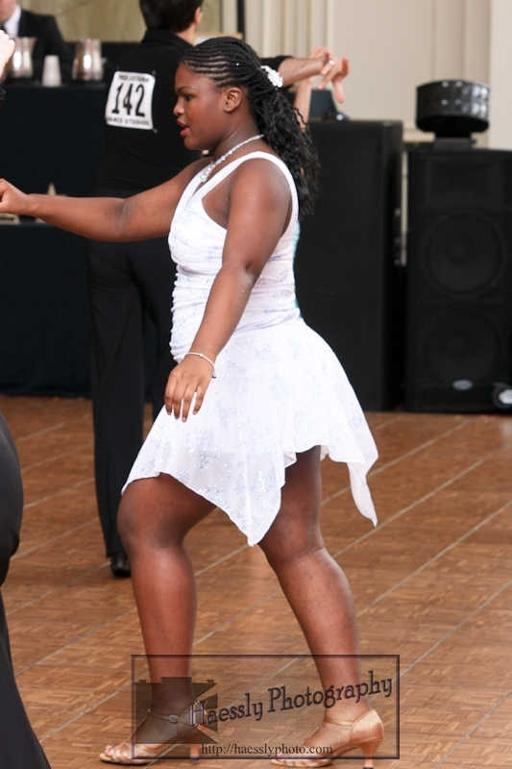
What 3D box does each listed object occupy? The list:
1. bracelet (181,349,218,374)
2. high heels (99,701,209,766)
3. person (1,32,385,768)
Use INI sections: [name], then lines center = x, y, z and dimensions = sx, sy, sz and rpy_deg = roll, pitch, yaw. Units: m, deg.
[bracelet]
center = -0.058, -0.024, 0.948
dimensions = 0.031, 0.031, 0.062
rpy_deg = 0, 4, 23
[high heels]
center = -0.141, 0.526, 1.202
dimensions = 0.182, 0.087, 0.089
rpy_deg = 0, -8, 1
[person]
center = -0.019, 0.038, 1.193
dimensions = 0.433, 1.099, 0.552
rpy_deg = -2, 4, -14
